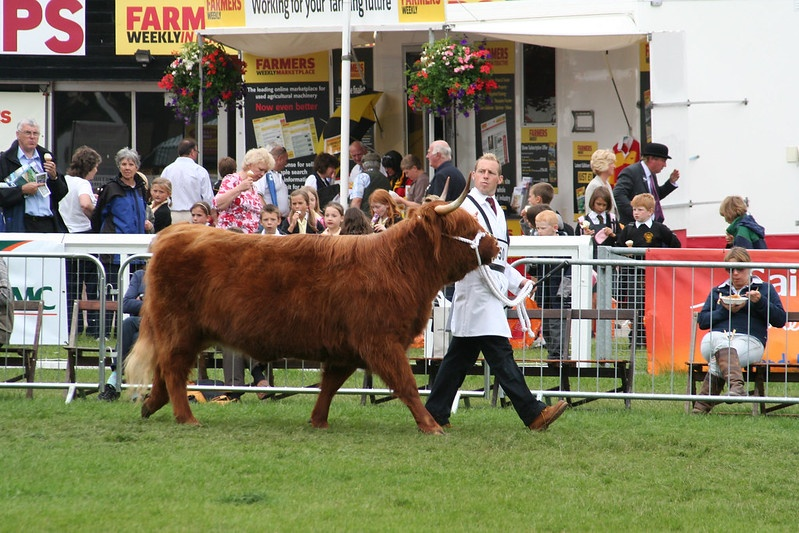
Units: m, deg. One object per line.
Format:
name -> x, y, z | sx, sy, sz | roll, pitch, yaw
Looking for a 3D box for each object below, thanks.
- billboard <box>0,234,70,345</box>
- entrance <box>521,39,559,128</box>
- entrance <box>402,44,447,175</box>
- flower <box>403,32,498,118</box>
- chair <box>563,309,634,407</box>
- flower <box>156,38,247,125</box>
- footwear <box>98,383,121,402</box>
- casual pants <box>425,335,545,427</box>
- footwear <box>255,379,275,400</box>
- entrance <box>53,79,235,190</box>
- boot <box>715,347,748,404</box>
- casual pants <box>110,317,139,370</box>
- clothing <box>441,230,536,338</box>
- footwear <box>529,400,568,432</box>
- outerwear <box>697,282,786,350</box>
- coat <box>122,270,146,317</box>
billboard -> -4.793, 0.370, 22.251 | 1.228, 1.504, 0.060 | -1, -1, 1
entrance -> 2.438, -3.088, 29.163 | 0.611, 1.606, 0.144 | 1, 24, 4
entrance -> 0.273, -2.619, 29.447 | 0.529, 2.361, 0.091 | -2, 1, -37
flower -> 0.764, -2.958, 26.977 | 1.184, 1.120, 1.247 | 0, 1, -10
chair -> 2.577, 1.320, 21.929 | 0.865, 1.240, 1.085 | 0, 44, -1
flower -> -3.318, -3.209, 28.939 | 1.226, 1.377, 1.259 | 4, 13, 18
footwear -> -3.702, 1.617, 21.695 | 0.344, 0.181, 0.134 | 4, 1, -3
casual pants -> 0.996, 1.272, 20.541 | 1.445, 1.409, 0.513 | 0, -3, 26
footwear -> -1.730, 1.581, 21.861 | 0.175, 0.423, 0.533 | -1, -8, 7
entrance -> -4.834, -2.273, 31.469 | 3.527, 2.478, 0.250 | -5, -19, 6
boot -> 4.213, 1.364, 21.426 | 0.178, 0.429, 0.263 | -11, -3, 35
casual pants -> -3.471, 0.992, 21.501 | 0.153, 0.657, 0.315 | 11, -7, -29
clothing -> 1.020, 0.292, 20.528 | 0.317, 1.265, 0.979 | -16, 7, 31
footwear -> 1.778, 1.790, 20.369 | 0.446, 0.342, 0.261 | 0, -1, 8
outerwear -> 4.377, 0.606, 21.758 | 1.071, 1.102, 0.839 | -2, -6, 26
coat -> -3.429, 0.334, 21.996 | 0.509, 0.568, 0.213 | -2, -11, 7
